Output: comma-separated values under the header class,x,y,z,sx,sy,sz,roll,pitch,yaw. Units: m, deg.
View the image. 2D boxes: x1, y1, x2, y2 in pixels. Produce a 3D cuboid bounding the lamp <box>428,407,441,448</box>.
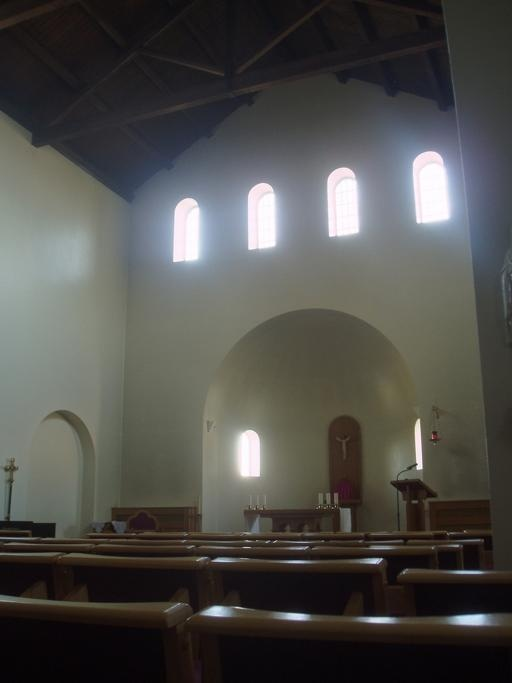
class,x,y,z,sx,sy,sz,roll,pitch,yaw
lamp,2.672,1.270,9.376,0.188,0.578,0.087,0,-9,2
